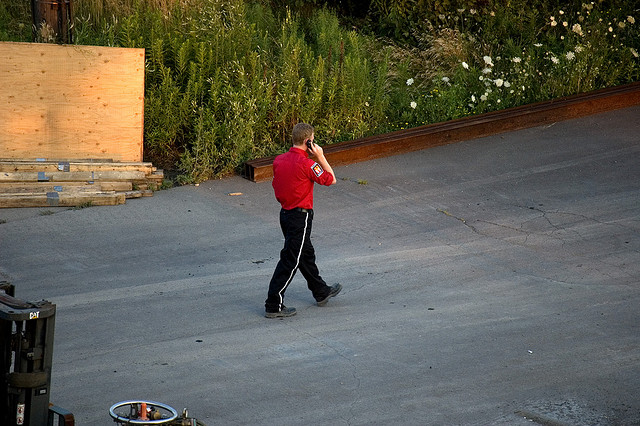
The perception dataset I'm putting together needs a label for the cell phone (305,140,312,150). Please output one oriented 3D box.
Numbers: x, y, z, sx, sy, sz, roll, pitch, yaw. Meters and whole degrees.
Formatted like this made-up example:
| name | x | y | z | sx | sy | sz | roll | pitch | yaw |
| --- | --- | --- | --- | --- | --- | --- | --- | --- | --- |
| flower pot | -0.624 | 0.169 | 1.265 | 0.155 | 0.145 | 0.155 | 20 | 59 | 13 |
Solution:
| name | x | y | z | sx | sy | sz | roll | pitch | yaw |
| --- | --- | --- | --- | --- | --- | --- | --- | --- | --- |
| cell phone | -0.137 | -0.853 | 9.062 | 0.032 | 0.076 | 0.062 | -18 | 5 | -17 |
